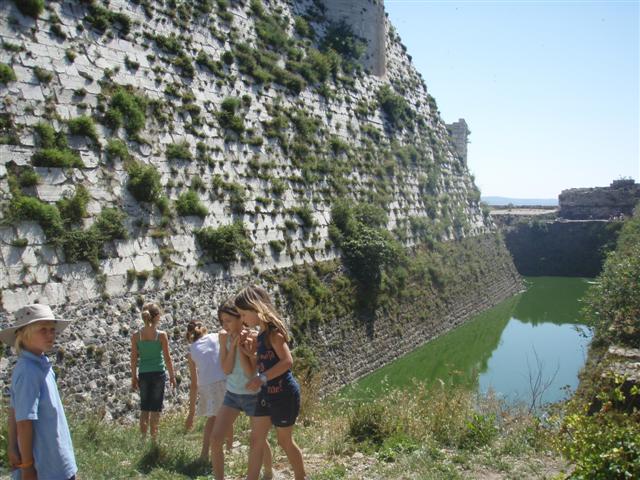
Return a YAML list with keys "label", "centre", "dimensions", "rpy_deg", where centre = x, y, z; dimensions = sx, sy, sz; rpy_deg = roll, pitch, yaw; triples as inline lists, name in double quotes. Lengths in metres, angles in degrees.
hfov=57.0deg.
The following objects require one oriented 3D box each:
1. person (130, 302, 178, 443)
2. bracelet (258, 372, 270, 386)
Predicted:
- label: "person"
  centre: [-3.114, 2.466, 10.972]
  dimensions: [0.742, 2.569, 0.781]
  rpy_deg: [-2, -3, -20]
- label: "bracelet"
  centre: [-0.875, 2.132, 9.091]
  dimensions: [0.123, 0.206, 0.049]
  rpy_deg: [3, 12, 21]
